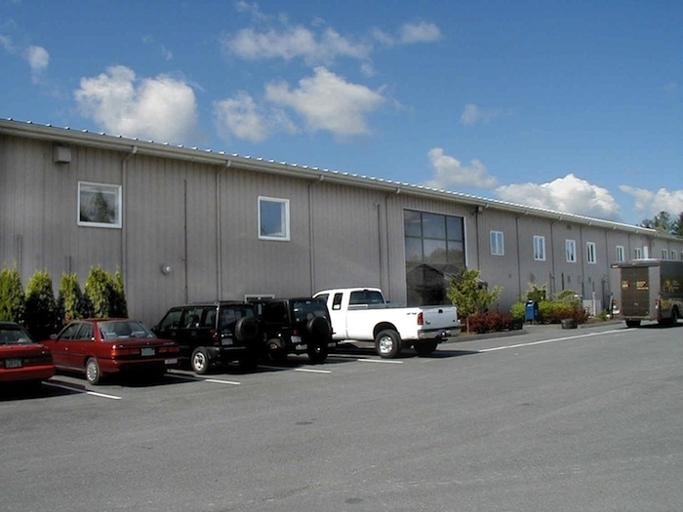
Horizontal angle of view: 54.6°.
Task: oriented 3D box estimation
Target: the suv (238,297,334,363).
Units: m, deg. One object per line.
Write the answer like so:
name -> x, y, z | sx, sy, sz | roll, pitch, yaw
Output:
suv -> -1.584, 2.097, 20.027 | 2.487, 1.371, 1.492 | 1, -1, 43

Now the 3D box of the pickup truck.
pickup truck -> 1.488, 2.084, 21.099 | 3.929, 1.929, 1.463 | -2, -1, 35

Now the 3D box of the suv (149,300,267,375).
suv -> -3.666, 2.198, 18.671 | 2.787, 1.530, 1.591 | 3, -1, 44

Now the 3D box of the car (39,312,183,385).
car -> -5.713, 2.337, 16.549 | 3.043, 1.096, 1.496 | -1, -1, 30
